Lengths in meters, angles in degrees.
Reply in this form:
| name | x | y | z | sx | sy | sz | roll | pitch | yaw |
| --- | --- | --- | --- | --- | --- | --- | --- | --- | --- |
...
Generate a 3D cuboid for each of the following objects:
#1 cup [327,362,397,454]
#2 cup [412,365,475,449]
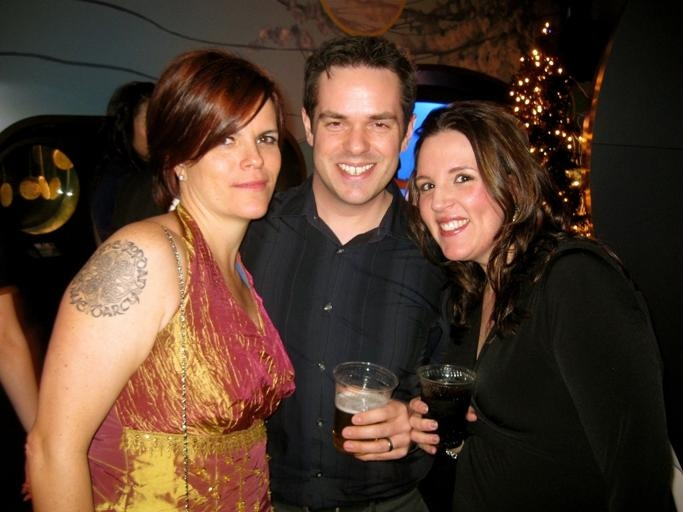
| name | x | y | z | sx | sy | sz | roll | pitch | yaw |
| --- | --- | --- | --- | --- | --- | --- | --- | --- | --- |
| cup | 0.073 | 0.756 | 3.290 | 0.353 | 0.412 | 0.378 | 6 | 11 | -1 |
| cup | 0.542 | 0.723 | 3.191 | 0.350 | 0.446 | 0.367 | 1 | -5 | 0 |
